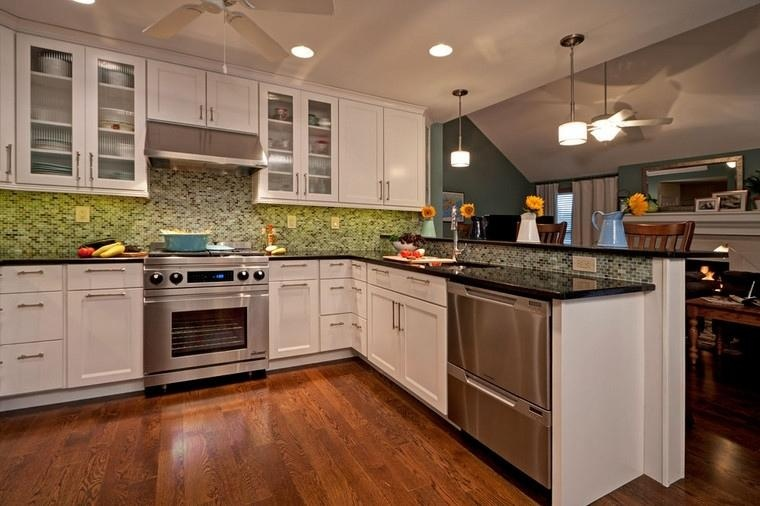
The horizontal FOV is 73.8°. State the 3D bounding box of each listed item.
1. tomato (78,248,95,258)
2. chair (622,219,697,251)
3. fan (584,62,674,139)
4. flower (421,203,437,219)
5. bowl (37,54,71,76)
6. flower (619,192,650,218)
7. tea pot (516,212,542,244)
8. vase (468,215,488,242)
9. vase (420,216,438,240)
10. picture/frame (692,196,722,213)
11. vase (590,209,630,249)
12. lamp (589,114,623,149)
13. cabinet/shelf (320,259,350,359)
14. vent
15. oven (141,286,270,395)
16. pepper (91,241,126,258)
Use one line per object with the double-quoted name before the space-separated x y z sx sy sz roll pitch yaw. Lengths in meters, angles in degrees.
"tomato" -2.649 -0.011 4.562 0.108 0.106 0.104 0 24 -21
"chair" 2.689 -0.169 4.869 0.503 0.253 2.719 2 4 31
"fan" 3.457 -2.172 7.040 1.081 1.180 1.207 1 -8 18
"flower" 0.533 -0.473 5.689 0.171 0.169 0.077 -3 5 -1
"bowl" -2.978 -1.711 4.669 0.241 0.223 0.209 0 4 -12
"flower" 2.105 -0.410 4.185 0.149 0.170 0.399 1 4 21
"tea pot" 1.305 -0.232 4.478 0.173 0.263 0.179 -1 4 0
"vase" 1.003 -0.266 5.193 0.161 0.233 0.303 0 4 9
"vase" 0.589 -0.316 6.010 0.241 0.263 0.250 -1 2 -3
"picture/frame" 5.317 -0.794 8.220 0.028 0.240 0.331 8 -3 -20
"vase" 1.858 -0.190 4.124 0.240 0.305 0.303 -1 0 -41
"lamp" 2.686 -1.542 6.101 0.322 0.341 0.505 1 4 22
"cabinet/shelf" -0.463 0.520 5.213 0.339 0.915 0.120 -1 4 -8
"vent" -1.690 -1.067 4.925 1.089 0.430 0.275 -2 4 -20
"oven" -1.690 0.759 5.022 1.111 0.858 0.580 -2 3 -20
"pepper" -2.476 -0.027 4.630 0.231 0.065 0.116 -13 30 -32
